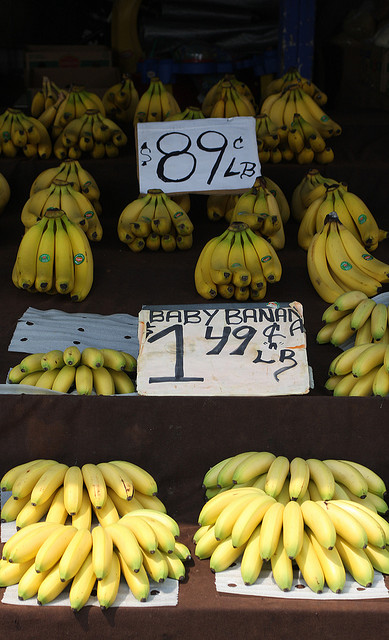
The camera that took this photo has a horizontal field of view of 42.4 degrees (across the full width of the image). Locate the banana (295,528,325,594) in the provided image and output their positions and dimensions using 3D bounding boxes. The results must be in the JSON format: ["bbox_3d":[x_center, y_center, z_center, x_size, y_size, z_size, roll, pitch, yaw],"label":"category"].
[{"bbox_3d":[0.246,0.510,1.061,0.028,0.113,0.035,-29,-26,25],"label":"banana"}]

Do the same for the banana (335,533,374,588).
[{"bbox_3d":[0.337,0.512,1.118,0.047,0.037,0.141,36,21,-51],"label":"banana"}]

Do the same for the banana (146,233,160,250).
[{"bbox_3d":[-0.208,-0.400,2.512,0.039,0.057,0.036,39,68,16],"label":"banana"}]

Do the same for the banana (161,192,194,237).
[{"bbox_3d":[-0.095,-0.532,2.522,0.285,0.078,0.101,45,4,18],"label":"banana"}]

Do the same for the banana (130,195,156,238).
[{"bbox_3d":[-0.241,-0.490,2.457,0.071,0.227,0.147,14,-20,11],"label":"banana"}]

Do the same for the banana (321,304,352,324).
[{"bbox_3d":[0.536,-0.020,1.914,0.166,0.054,0.045,-13,57,-50],"label":"banana"}]

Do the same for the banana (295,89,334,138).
[{"bbox_3d":[0.690,-1.208,2.922,0.127,0.241,0.321,-10,28,-22],"label":"banana"}]

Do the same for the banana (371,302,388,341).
[{"bbox_3d":[0.627,0.002,1.710,0.044,0.046,0.151,8,40,13],"label":"banana"}]

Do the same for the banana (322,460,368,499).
[{"bbox_3d":[0.387,0.398,1.268,0.068,0.043,0.155,-2,15,-24],"label":"banana"}]

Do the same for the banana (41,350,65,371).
[{"bbox_3d":[-0.476,0.130,1.720,0.049,0.046,0.094,21,27,24],"label":"banana"}]

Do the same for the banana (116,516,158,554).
[{"bbox_3d":[-0.126,0.457,1.114,0.037,0.038,0.125,-19,31,-16],"label":"banana"}]

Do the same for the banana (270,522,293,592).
[{"bbox_3d":[0.177,0.509,1.053,0.026,0.034,0.104,-19,59,17],"label":"banana"}]

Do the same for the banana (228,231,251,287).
[{"bbox_3d":[0.183,-0.257,2.092,0.058,0.084,0.239,3,61,3],"label":"banana"}]

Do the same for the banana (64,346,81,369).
[{"bbox_3d":[-0.408,0.119,1.675,0.037,0.044,0.078,4,-5,-5],"label":"banana"}]

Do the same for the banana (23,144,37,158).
[{"bbox_3d":[-0.933,-0.958,2.842,0.055,0.071,0.019,-1,26,-12],"label":"banana"}]

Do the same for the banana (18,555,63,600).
[{"bbox_3d":[-0.324,0.543,1.045,0.078,0.057,0.068,2,26,1],"label":"banana"}]

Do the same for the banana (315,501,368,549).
[{"bbox_3d":[0.328,0.451,1.132,0.042,0.047,0.158,35,-6,-6],"label":"banana"}]

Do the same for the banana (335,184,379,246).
[{"bbox_3d":[0.796,-0.494,2.459,0.100,0.360,0.124,-27,-8,-18],"label":"banana"}]

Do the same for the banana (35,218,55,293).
[{"bbox_3d":[-0.650,-0.282,2.227,0.066,0.325,0.111,6,9,0],"label":"banana"}]

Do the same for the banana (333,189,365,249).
[{"bbox_3d":[0.720,-0.468,2.353,0.072,0.323,0.108,-29,8,27],"label":"banana"}]

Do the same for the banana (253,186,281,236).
[{"bbox_3d":[0.330,-0.550,2.528,0.092,0.200,0.301,2,7,3],"label":"banana"}]

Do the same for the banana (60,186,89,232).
[{"bbox_3d":[-0.593,-0.554,2.535,0.060,0.079,0.231,33,-10,7],"label":"banana"}]

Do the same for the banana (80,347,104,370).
[{"bbox_3d":[-0.343,0.128,1.682,0.048,0.055,0.096,31,-14,-22],"label":"banana"}]

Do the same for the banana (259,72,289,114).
[{"bbox_3d":[0.514,-1.487,3.260,0.172,0.222,0.416,4,26,7],"label":"banana"}]

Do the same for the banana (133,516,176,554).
[{"bbox_3d":[-0.085,0.471,1.158,0.129,0.036,0.043,35,11,37],"label":"banana"}]

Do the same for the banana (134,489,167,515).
[{"bbox_3d":[-0.121,0.484,1.330,0.111,0.038,0.031,34,70,24],"label":"banana"}]

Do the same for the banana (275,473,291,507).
[{"bbox_3d":[0.224,0.429,1.252,0.023,0.090,0.028,26,-6,15],"label":"banana"}]

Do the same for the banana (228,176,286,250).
[{"bbox_3d":[0.311,-0.470,2.418,0.105,0.229,0.130,-33,81,-23],"label":"banana"}]

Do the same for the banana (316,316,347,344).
[{"bbox_3d":[0.526,0.027,1.990,0.161,0.052,0.044,-40,13,-20],"label":"banana"}]

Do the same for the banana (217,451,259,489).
[{"bbox_3d":[0.123,0.393,1.354,0.043,0.053,0.161,-27,4,33],"label":"banana"}]

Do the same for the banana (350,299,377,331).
[{"bbox_3d":[0.613,-0.040,1.814,0.048,0.052,0.173,29,45,10],"label":"banana"}]

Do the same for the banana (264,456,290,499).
[{"bbox_3d":[0.197,0.380,1.227,0.032,0.037,0.110,-3,17,11],"label":"banana"}]

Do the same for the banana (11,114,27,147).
[{"bbox_3d":[-0.968,-1.027,2.758,0.058,0.202,0.076,-14,-19,1],"label":"banana"}]

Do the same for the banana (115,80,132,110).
[{"bbox_3d":[-0.450,-1.450,3.224,0.066,0.174,0.145,13,28,25],"label":"banana"}]

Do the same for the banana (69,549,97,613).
[{"bbox_3d":[-0.222,0.526,1.020,0.031,0.110,0.038,20,-15,7],"label":"banana"}]

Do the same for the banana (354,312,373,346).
[{"bbox_3d":[0.623,0.026,1.843,0.037,0.047,0.139,12,53,29],"label":"banana"}]

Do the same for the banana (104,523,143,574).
[{"bbox_3d":[-0.144,0.490,1.076,0.054,0.046,0.160,-7,9,-30],"label":"banana"}]

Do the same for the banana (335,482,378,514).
[{"bbox_3d":[0.416,0.463,1.300,0.128,0.031,0.038,40,19,-4],"label":"banana"}]

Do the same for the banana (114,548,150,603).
[{"bbox_3d":[-0.126,0.526,1.066,0.041,0.129,0.035,-19,-12,-48],"label":"banana"}]
